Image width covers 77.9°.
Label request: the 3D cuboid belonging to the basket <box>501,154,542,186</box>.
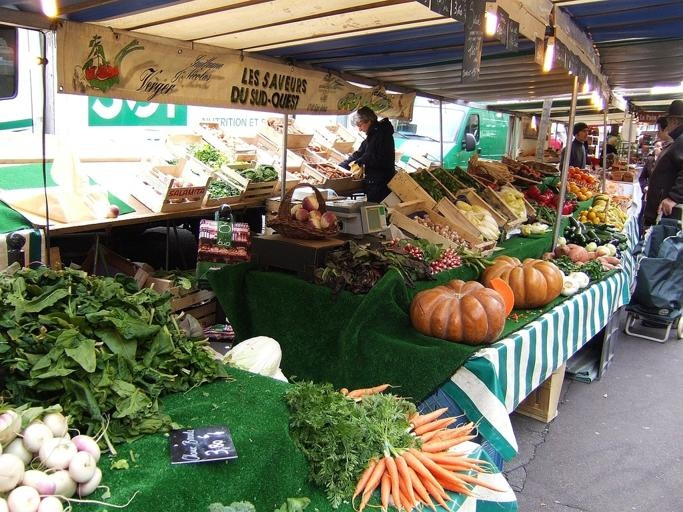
[{"bbox_3d":[2.807,-1.383,6.776,0.680,0.262,0.522,26,8,25],"label":"basket"}]

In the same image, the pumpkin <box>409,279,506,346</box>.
[{"bbox_3d":[0.861,0.341,3.146,0.593,0.386,0.686,7,10,28],"label":"pumpkin"}]

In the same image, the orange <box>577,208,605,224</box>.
[{"bbox_3d":[3.810,-0.591,6.530,0.367,0.133,0.350,2,9,26],"label":"orange"}]

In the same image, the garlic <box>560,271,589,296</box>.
[{"bbox_3d":[2.072,0.245,3.819,0.213,0.100,0.256,-2,23,3],"label":"garlic"}]

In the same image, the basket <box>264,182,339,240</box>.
[{"bbox_3d":[-0.244,-0.403,3.617,0.579,0.477,0.580,8,11,26],"label":"basket"}]

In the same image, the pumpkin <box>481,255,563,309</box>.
[{"bbox_3d":[1.591,0.153,3.765,0.771,0.376,0.611,7,14,26],"label":"pumpkin"}]

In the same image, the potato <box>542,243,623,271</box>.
[{"bbox_3d":[2.679,-0.017,4.813,0.511,0.146,0.494,2,13,-9],"label":"potato"}]
